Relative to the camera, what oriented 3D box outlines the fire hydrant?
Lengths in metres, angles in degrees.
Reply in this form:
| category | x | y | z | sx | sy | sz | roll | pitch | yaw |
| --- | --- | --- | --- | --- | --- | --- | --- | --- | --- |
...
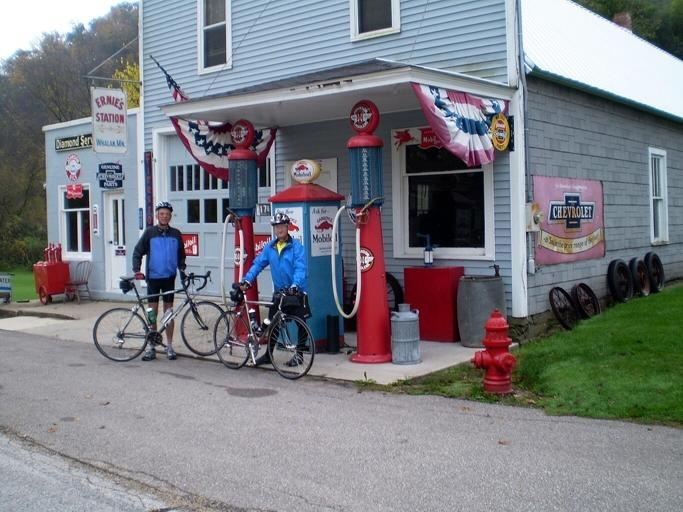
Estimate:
| category | x | y | z | sx | sy | sz | roll | pitch | yaw |
| --- | --- | --- | --- | --- | --- | --- | --- | --- | --- |
| fire hydrant | 1.924 | 1.231 | 8.367 | 0.506 | 1.070 | 0.251 | 1 | 8 | 14 |

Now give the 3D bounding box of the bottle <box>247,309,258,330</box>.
| category | x | y | z | sx | sy | sz | roll | pitch | yaw |
| --- | --- | --- | --- | --- | --- | --- | --- | --- | --- |
| bottle | -1.282 | 0.918 | 9.518 | 0.157 | 0.306 | 0.132 | -6 | 9 | -29 |

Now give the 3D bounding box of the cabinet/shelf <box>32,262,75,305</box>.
| category | x | y | z | sx | sy | sz | roll | pitch | yaw |
| --- | --- | --- | --- | --- | --- | --- | --- | --- | --- |
| cabinet/shelf | -7.539 | 0.651 | 17.090 | 0.475 | 1.095 | 0.639 | 5 | 10 | 29 |

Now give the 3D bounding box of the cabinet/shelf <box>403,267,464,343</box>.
| category | x | y | z | sx | sy | sz | roll | pitch | yaw |
| --- | --- | --- | --- | --- | --- | --- | --- | --- | --- |
| cabinet/shelf | 1.549 | 0.823 | 10.849 | 0.939 | 1.607 | 0.698 | 2 | 5 | 31 |

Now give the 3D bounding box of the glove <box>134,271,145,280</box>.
| category | x | y | z | sx | sy | sz | roll | pitch | yaw |
| --- | --- | --- | --- | --- | --- | --- | --- | --- | --- |
| glove | -3.155 | 0.312 | 10.260 | 0.166 | 0.152 | 0.066 | 2 | 24 | 21 |

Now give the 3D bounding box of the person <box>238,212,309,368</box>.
| category | x | y | z | sx | sy | sz | roll | pitch | yaw |
| --- | --- | --- | --- | --- | --- | --- | --- | --- | --- |
| person | -0.851 | 0.554 | 9.571 | 1.150 | 2.353 | 0.677 | 4 | 10 | 35 |

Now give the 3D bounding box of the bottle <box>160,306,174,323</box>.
| category | x | y | z | sx | sy | sz | roll | pitch | yaw |
| --- | --- | --- | --- | --- | --- | --- | --- | --- | --- |
| bottle | -2.841 | 0.966 | 10.676 | 0.148 | 0.294 | 0.094 | 16 | -3 | 35 |

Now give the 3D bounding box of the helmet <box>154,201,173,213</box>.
| category | x | y | z | sx | sy | sz | roll | pitch | yaw |
| --- | --- | --- | --- | --- | --- | --- | --- | --- | --- |
| helmet | -2.895 | -0.796 | 10.692 | 0.211 | 0.162 | 0.410 | -3 | 10 | -6 |

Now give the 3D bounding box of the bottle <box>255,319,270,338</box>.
| category | x | y | z | sx | sy | sz | roll | pitch | yaw |
| --- | --- | --- | --- | --- | --- | --- | --- | --- | --- |
| bottle | -1.146 | 1.045 | 9.471 | 0.150 | 0.279 | 0.359 | -6 | 10 | -27 |

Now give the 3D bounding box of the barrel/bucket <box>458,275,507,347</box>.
| category | x | y | z | sx | sy | sz | roll | pitch | yaw |
| --- | --- | --- | --- | --- | --- | --- | --- | --- | --- |
| barrel/bucket | 2.271 | 0.886 | 10.834 | 0.717 | 1.175 | 0.703 | -2 | 10 | 0 |

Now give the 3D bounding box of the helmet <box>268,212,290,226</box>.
| category | x | y | z | sx | sy | sz | roll | pitch | yaw |
| --- | --- | --- | --- | --- | --- | --- | --- | --- | --- |
| helmet | -0.941 | -0.557 | 9.893 | 0.239 | 0.179 | 0.389 | 2 | -25 | -1 |
